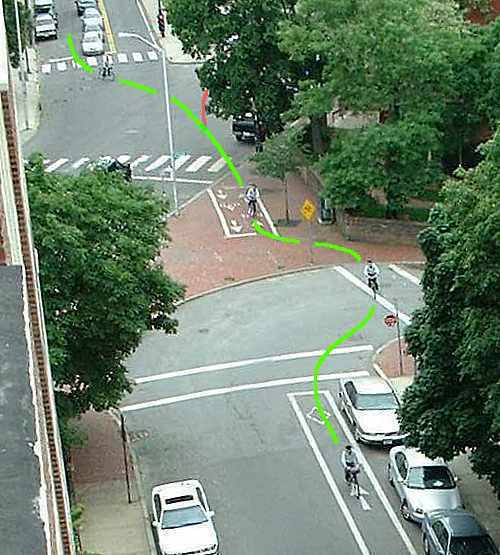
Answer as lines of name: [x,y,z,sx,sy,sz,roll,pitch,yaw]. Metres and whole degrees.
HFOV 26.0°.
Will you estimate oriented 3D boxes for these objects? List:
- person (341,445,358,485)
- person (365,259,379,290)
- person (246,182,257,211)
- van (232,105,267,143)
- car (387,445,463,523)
person: [3.129,5.793,33.532,0.521,1.320,0.791,-5,24,-3]
person: [5.257,-0.078,46.526,0.573,1.997,1.032,1,28,6]
person: [0.098,-4.161,56.564,0.489,1.790,0.854,-6,28,-7]
van: [-0.197,-8.950,66.917,1.565,1.343,2.981,3,30,11]
car: [5.324,6.163,33.015,1.748,1.325,3.943,0,14,-6]
